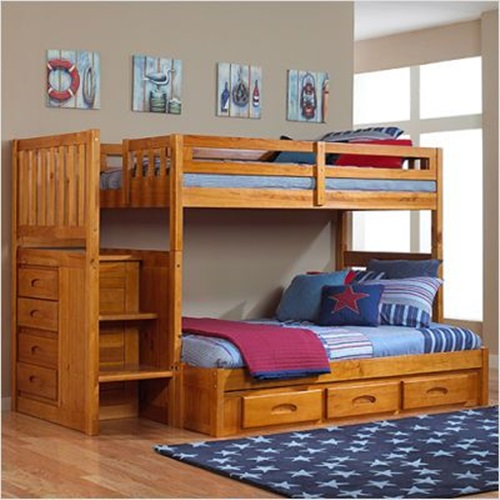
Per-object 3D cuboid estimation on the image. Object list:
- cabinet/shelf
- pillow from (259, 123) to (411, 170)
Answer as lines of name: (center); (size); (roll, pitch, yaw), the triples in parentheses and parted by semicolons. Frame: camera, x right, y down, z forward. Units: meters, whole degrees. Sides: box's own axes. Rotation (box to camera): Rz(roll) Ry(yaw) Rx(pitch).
cabinet/shelf: (-0.936, 0.466, 3.465); (0.546, 0.943, 0.920); (3, -4, -30)
pillow: (0.618, -0.684, 4.198); (0.731, 0.201, 0.486); (-2, 7, -24)
